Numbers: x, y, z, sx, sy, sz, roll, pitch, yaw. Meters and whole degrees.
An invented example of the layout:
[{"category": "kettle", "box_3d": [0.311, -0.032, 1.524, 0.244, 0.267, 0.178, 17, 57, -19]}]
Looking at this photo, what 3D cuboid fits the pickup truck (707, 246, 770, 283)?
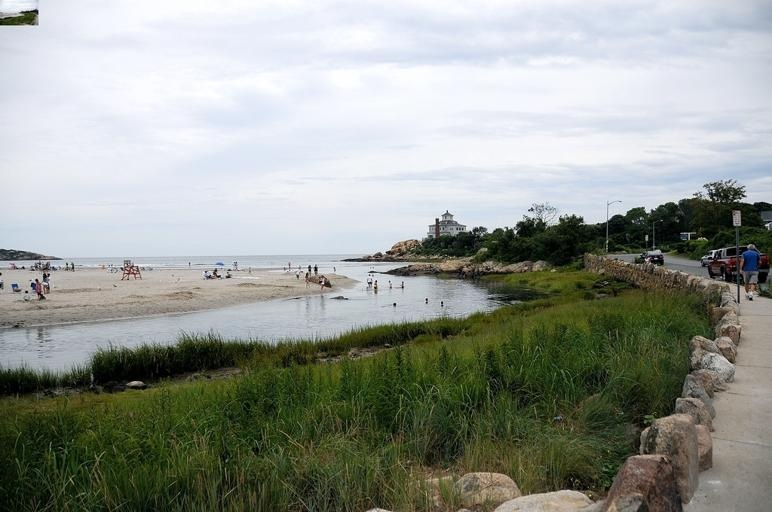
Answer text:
[{"category": "pickup truck", "box_3d": [16.115, 0.437, 27.725, 2.092, 1.456, 3.669, -1, 4, 8]}]
